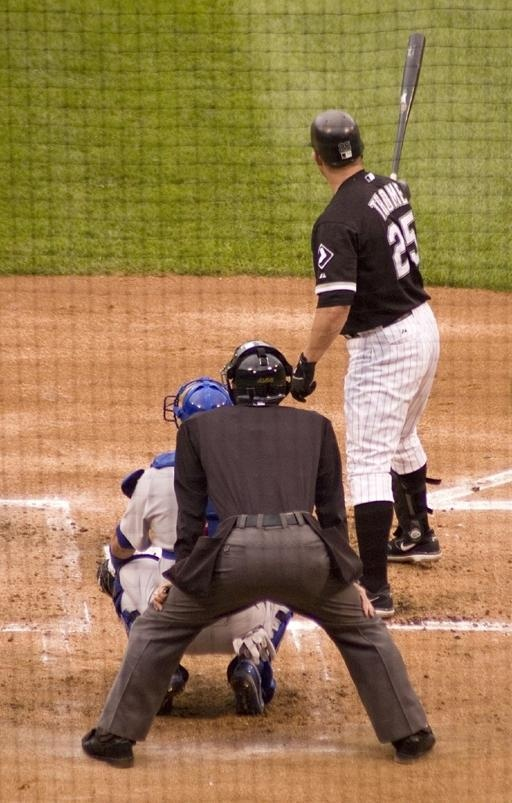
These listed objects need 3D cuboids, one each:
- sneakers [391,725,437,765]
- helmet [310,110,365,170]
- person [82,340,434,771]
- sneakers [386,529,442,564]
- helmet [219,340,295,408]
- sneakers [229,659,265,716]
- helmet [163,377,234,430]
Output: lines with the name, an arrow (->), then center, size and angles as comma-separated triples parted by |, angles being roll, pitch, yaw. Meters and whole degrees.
sneakers -> 0.497, 1.068, 3.658 | 0.080, 0.141, 0.164 | 18, 28, 39
helmet -> 0.306, -0.998, 4.317 | 0.181, 0.185, 0.217 | -13, 52, 7
person -> 0.028, 0.604, 3.603 | 1.070, 1.156, 0.335 | 3, 13, -2
sneakers -> 0.677, 0.640, 4.955 | 0.295, 0.114, 0.104 | -1, 9, -2
helmet -> 0.004, -0.067, 3.737 | 0.214, 0.193, 0.219 | 3, 31, -2
sneakers -> -0.025, 0.952, 3.810 | 0.095, 0.255, 0.113 | -4, 51, 14
helmet -> -0.193, 0.033, 3.949 | 0.228, 0.179, 0.270 | -1, 17, -6
